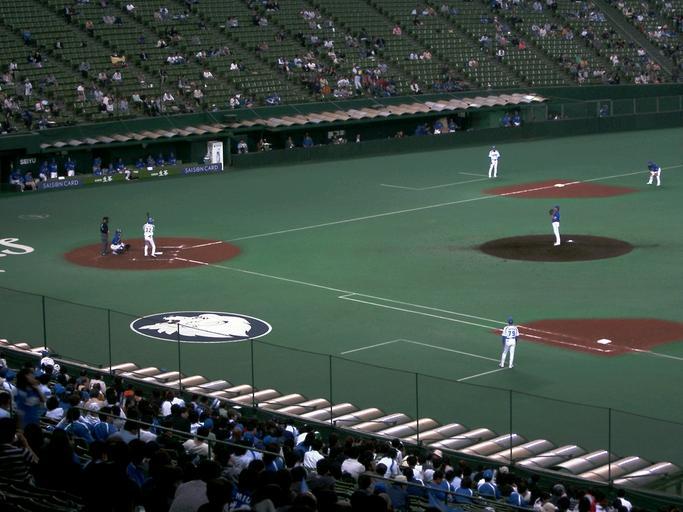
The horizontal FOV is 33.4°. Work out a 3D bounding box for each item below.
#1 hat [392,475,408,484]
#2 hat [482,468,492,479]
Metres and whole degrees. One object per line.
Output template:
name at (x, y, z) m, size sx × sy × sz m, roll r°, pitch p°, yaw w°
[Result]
hat at (1.387, 5.379, 27.192) m, size 0.313 × 0.229 × 0.219 m, roll -12°, pitch 17°, yaw -28°
hat at (3.672, 5.566, 28.837) m, size 0.256 × 0.331 × 0.178 m, roll 1°, pitch 12°, yaw 2°
